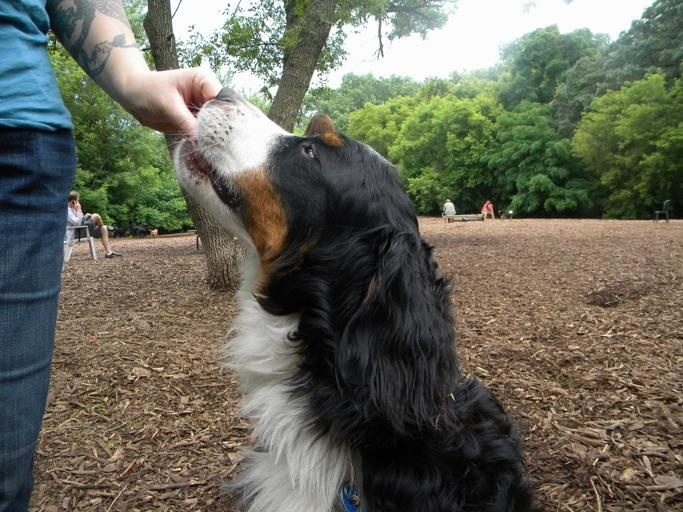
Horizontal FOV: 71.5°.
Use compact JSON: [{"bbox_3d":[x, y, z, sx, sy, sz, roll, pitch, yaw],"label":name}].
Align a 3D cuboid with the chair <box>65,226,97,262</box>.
[{"bbox_3d":[-6.669,-0.313,12.170,0.972,0.922,1.081,-3,4,-21],"label":"chair"}]
